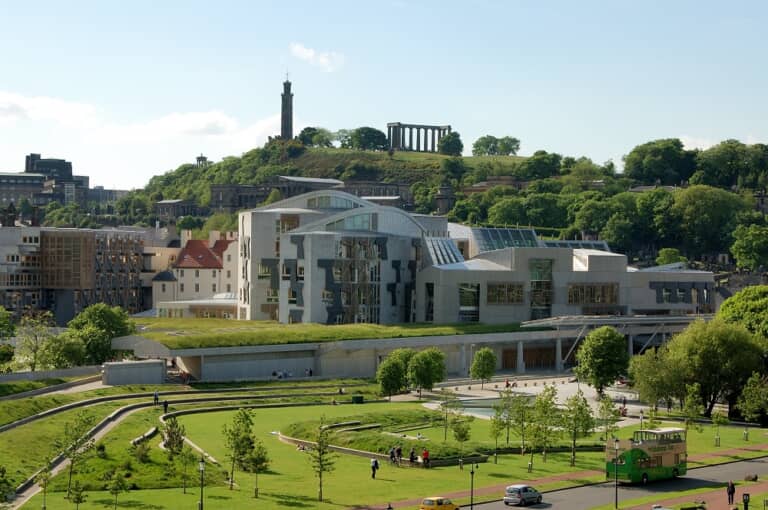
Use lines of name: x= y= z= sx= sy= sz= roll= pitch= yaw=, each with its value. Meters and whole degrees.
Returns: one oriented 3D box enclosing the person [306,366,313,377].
person: x=-12.337 y=19.793 z=278.823 sx=1.219 sy=1.253 sz=0.399 roll=1 pitch=-3 yaw=-11
